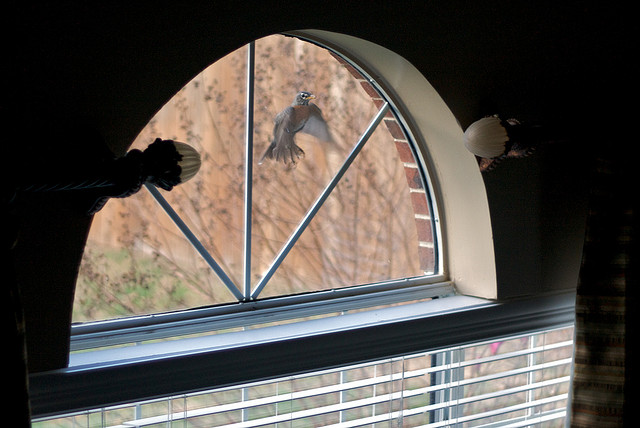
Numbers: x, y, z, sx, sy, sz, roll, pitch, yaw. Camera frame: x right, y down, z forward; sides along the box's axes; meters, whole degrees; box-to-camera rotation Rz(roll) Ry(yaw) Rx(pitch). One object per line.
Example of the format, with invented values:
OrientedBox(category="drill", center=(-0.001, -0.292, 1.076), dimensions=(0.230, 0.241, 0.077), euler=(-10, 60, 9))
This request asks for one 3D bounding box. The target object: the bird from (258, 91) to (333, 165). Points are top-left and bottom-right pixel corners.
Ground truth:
OrientedBox(category="bird", center=(-0.098, -0.311, 3.522), dimensions=(0.245, 0.240, 0.220), euler=(-9, 12, -27))

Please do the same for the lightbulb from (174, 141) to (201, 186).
OrientedBox(category="lightbulb", center=(-0.411, -0.160, 3.064), dimensions=(0.071, 0.132, 0.131), euler=(-3, -24, 0))
